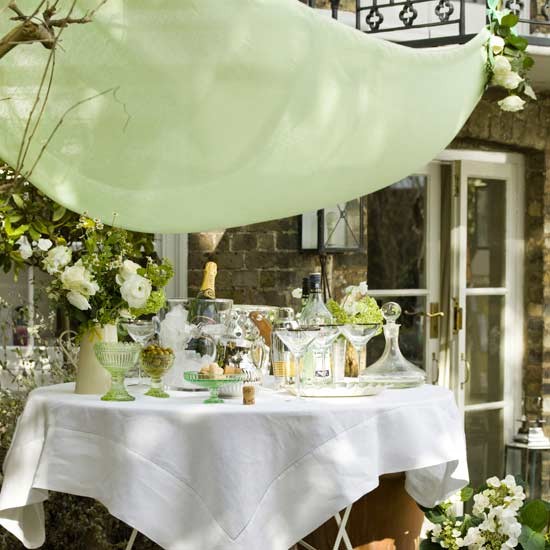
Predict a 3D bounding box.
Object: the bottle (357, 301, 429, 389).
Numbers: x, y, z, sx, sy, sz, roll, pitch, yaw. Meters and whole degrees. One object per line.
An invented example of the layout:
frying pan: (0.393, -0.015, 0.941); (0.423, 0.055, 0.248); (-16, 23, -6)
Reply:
bottle: (0.408, 0.251, 3.222); (0.208, 0.236, 0.331); (4, 83, -28)

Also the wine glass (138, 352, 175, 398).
wine glass: (-0.380, 0.336, 3.019); (0.104, 0.110, 0.204); (-4, 84, 29)

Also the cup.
cup: (-0.225, 0.249, 3.185); (0.323, 0.233, 0.468); (2, 84, -2)

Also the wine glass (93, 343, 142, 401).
wine glass: (-0.502, 0.291, 2.865); (0.128, 0.142, 0.206); (1, 90, 32)

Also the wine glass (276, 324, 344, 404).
wine glass: (0.110, 0.293, 2.963); (0.166, 0.200, 0.280); (1, 85, -6)

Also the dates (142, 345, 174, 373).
dates: (-0.393, 0.269, 2.983); (0.069, 0.083, 0.088); (2, 84, -9)
